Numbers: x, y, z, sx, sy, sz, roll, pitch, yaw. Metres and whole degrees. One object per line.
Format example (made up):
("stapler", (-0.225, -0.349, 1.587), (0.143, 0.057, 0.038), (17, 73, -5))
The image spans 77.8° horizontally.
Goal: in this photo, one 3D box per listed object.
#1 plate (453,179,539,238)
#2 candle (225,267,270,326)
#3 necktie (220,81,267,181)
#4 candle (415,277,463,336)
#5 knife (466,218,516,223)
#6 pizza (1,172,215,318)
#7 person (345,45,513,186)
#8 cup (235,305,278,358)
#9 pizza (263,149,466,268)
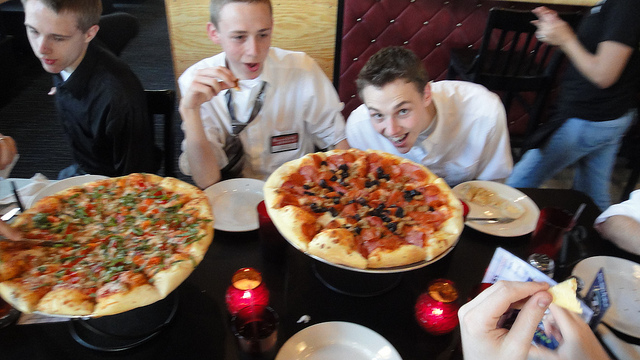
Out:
("plate", (0.972, 0.148, 2.170), (0.413, 0.070, 0.379), (-3, 39, -3))
("candle", (-0.313, 0.505, 1.774), (0.230, 0.208, 0.215), (0, 32, -3))
("necktie", (-0.518, -0.351, 2.571), (0.210, 0.510, 0.069), (14, 47, -7))
("candle", (0.505, 0.551, 1.823), (0.245, 0.199, 0.219), (5, 29, 9))
("knife", (0.908, 0.212, 2.105), (0.232, 0.025, 0.021), (1, 77, 2))
("pizza", (-0.994, 0.297, 1.922), (0.922, 0.238, 0.764), (-12, 41, -14))
("person", (0.642, -0.415, 2.718), (1.207, 1.112, 0.601), (-4, 47, 24))
("cup", (-0.248, 0.642, 1.720), (0.234, 0.158, 0.211), (-1, 50, -1))
("pizza", (0.207, 0.121, 2.024), (0.962, 0.173, 0.734), (-7, 39, -9))
